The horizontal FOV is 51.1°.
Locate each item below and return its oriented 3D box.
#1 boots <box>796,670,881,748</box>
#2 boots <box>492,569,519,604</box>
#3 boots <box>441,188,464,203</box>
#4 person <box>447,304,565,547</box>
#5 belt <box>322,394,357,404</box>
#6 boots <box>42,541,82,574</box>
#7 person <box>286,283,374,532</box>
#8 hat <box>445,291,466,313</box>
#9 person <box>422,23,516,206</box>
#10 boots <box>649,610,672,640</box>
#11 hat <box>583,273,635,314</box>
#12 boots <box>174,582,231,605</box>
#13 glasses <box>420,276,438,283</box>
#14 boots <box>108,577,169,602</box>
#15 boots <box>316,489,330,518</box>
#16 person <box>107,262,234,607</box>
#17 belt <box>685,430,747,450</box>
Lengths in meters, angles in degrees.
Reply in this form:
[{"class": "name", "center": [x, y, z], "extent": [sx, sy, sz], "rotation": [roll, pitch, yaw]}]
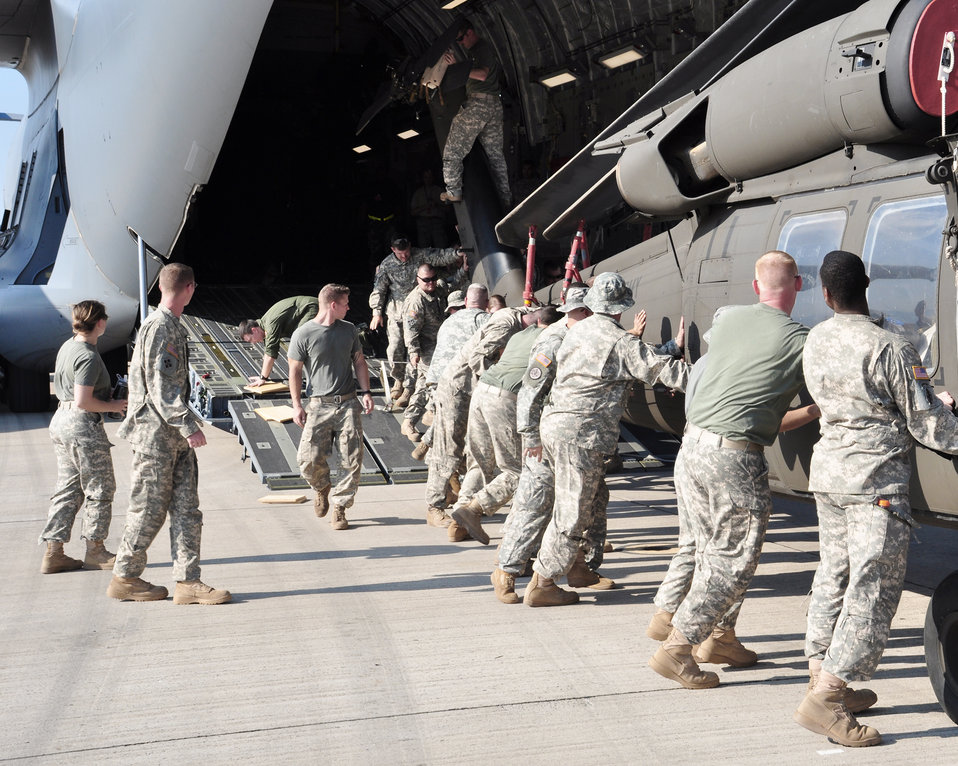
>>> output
[{"class": "boots", "center": [1.627, 1.455, 4.460], "extent": [0.351, 0.301, 0.149], "rotation": [12, -2, 35]}, {"class": "boots", "center": [0.171, 1.279, 6.353], "extent": [0.165, 0.213, 0.186], "rotation": [-1, 6, 1]}, {"class": "boots", "center": [-0.436, -2.770, 14.755], "extent": [0.319, 0.266, 0.147], "rotation": [3, 4, 14]}, {"class": "person", "center": [0.071, 0.345, 7.323], "extent": [0.577, 1.635, 1.006], "rotation": [15, 7, -30]}, {"class": "belt", "center": [-1.132, 0.122, 8.226], "extent": [0.308, 0.079, 0.081], "rotation": [-5, 7, -36]}, {"class": "boots", "center": [-2.929, 1.229, 7.056], "extent": [0.358, 0.213, 0.136], "rotation": [-5, 11, -42]}, {"class": "person", "center": [-1.224, 0.201, 8.304], "extent": [0.653, 2.011, 0.437], "rotation": [-2, 6, -7]}, {"class": "hat", "center": [-0.256, -0.885, 10.628], "extent": [0.230, 0.147, 0.299], "rotation": [-3, -14, -6]}, {"class": "person", "center": [-0.228, -4.043, 14.856], "extent": [1.153, 2.826, 1.356], "rotation": [-3, 7, -21]}, {"class": "boots", "center": [1.001, 1.330, 5.486], "extent": [0.134, 0.152, 0.135], "rotation": [1, -35, 13]}, {"class": "hat", "center": [0.764, -0.523, 5.967], "extent": [0.249, 0.128, 0.261], "rotation": [-3, 35, -2]}, {"class": "boots", "center": [-1.742, 1.328, 6.337], "extent": [0.356, 0.136, 0.131], "rotation": [-1, 3, -5]}, {"class": "glasses", "center": [-0.616, -1.238, 11.966], "extent": [0.180, 0.079, 0.318], "rotation": [-1, 6, -6]}, {"class": "boots", "center": [-2.176, 1.314, 6.445], "extent": [0.416, 0.183, 0.139], "rotation": [1, 8, -11]}, {"class": "boots", "center": [-1.326, 1.019, 8.441], "extent": [0.101, 0.113, 0.269], "rotation": [0, 39, -8]}, {"class": "person", "center": [-1.951, 0.339, 6.191], "extent": [0.669, 2.145, 0.710], "rotation": [-4, 7, -27]}, {"class": "belt", "center": [1.142, 0.272, 4.904], "extent": [0.333, 0.086, 0.098], "rotation": [5, 8, 40]}]
